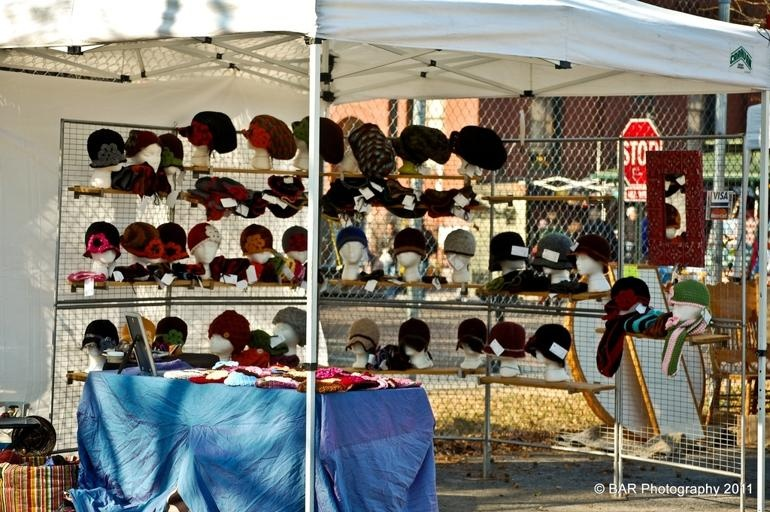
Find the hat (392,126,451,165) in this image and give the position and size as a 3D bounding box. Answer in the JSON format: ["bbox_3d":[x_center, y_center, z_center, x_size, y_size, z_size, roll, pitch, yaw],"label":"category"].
[{"bbox_3d":[0.331,-1.024,13.805,0.434,0.266,0.341,2,9,5],"label":"hat"}]

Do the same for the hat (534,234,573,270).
[{"bbox_3d":[1.512,-0.051,13.620,0.314,0.215,0.292,4,-3,21],"label":"hat"}]

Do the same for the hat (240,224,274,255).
[{"bbox_3d":[-1.150,-0.170,13.747,0.208,0.262,0.296,-7,12,-14],"label":"hat"}]

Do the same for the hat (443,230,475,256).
[{"bbox_3d":[0.682,-0.131,13.912,0.268,0.239,0.201,10,-10,-11],"label":"hat"}]

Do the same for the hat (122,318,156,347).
[{"bbox_3d":[-2.141,0.654,13.550,0.314,0.336,0.077,13,15,25],"label":"hat"}]

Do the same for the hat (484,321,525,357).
[{"bbox_3d":[1.097,0.723,13.756,0.399,0.285,0.452,3,7,-19],"label":"hat"}]

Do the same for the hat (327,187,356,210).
[{"bbox_3d":[-0.390,-0.545,13.762,0.222,0.175,0.216,23,-39,-1],"label":"hat"}]

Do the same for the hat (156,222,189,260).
[{"bbox_3d":[-1.918,-0.173,13.682,0.360,0.370,0.281,-2,5,-17],"label":"hat"}]

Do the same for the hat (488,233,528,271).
[{"bbox_3d":[1.109,-0.072,13.880,0.358,0.333,0.281,1,7,-8],"label":"hat"}]

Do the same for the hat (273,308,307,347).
[{"bbox_3d":[-0.829,0.646,14.095,0.325,0.303,0.282,15,-15,-25],"label":"hat"}]

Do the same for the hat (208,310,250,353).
[{"bbox_3d":[-1.360,0.669,13.643,0.372,0.387,0.302,-6,-8,-16],"label":"hat"}]

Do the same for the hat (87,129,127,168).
[{"bbox_3d":[-2.401,-0.948,13.342,0.335,0.338,0.307,-5,1,2],"label":"hat"}]

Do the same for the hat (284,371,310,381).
[{"bbox_3d":[-0.686,0.951,12.278,0.131,0.043,0.131,5,-5,-40],"label":"hat"}]

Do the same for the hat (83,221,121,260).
[{"bbox_3d":[-2.433,-0.177,13.389,0.301,0.292,0.287,5,-7,-32],"label":"hat"}]

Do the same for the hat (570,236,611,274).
[{"bbox_3d":[1.798,-0.030,13.414,0.294,0.230,0.268,2,4,-10],"label":"hat"}]

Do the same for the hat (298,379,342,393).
[{"bbox_3d":[-0.501,1.007,11.909,0.327,0.098,0.144,-2,-4,-4],"label":"hat"}]

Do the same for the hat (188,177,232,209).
[{"bbox_3d":[-1.597,-0.578,13.712,0.251,0.146,0.329,1,-3,-29],"label":"hat"}]

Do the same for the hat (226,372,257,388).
[{"bbox_3d":[-1.131,0.967,12.137,0.265,0.119,0.183,-3,-4,2],"label":"hat"}]

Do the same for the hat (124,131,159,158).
[{"bbox_3d":[-2.137,-1.015,13.431,0.244,0.195,0.229,-15,3,33],"label":"hat"}]

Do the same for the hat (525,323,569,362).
[{"bbox_3d":[1.464,0.774,13.630,0.442,0.381,0.344,10,-6,13],"label":"hat"}]

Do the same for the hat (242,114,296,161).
[{"bbox_3d":[-1.016,-1.104,13.742,0.469,0.360,0.360,16,3,-2],"label":"hat"}]

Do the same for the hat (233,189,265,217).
[{"bbox_3d":[-1.208,-0.480,13.797,0.254,0.269,0.184,5,1,-22],"label":"hat"}]

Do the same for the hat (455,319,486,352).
[{"bbox_3d":[0.796,0.675,13.981,0.274,0.283,0.399,6,8,15],"label":"hat"}]

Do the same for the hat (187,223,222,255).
[{"bbox_3d":[-1.592,-0.160,13.650,0.254,0.216,0.256,-4,-5,-30],"label":"hat"}]

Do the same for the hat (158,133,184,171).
[{"bbox_3d":[-1.915,-0.945,13.674,0.306,0.319,0.242,-5,-10,-11],"label":"hat"}]

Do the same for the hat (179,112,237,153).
[{"bbox_3d":[-1.575,-1.149,13.720,0.562,0.339,0.395,8,-6,-30],"label":"hat"}]

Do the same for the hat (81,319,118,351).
[{"bbox_3d":[-2.460,0.699,13.389,0.312,0.185,0.221,2,-1,35],"label":"hat"}]

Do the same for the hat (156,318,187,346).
[{"bbox_3d":[-1.920,0.665,13.804,0.242,0.246,0.126,35,-15,-26],"label":"hat"}]

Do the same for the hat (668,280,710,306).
[{"bbox_3d":[2.579,0.305,12.991,0.230,0.147,0.234,5,-11,29],"label":"hat"}]

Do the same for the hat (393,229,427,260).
[{"bbox_3d":[0.224,-0.165,13.895,0.325,0.270,0.299,1,24,-2],"label":"hat"}]

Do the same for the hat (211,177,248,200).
[{"bbox_3d":[-1.341,-0.606,13.645,0.229,0.086,0.181,12,-5,-10],"label":"hat"}]

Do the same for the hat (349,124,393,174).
[{"bbox_3d":[-0.111,-0.970,13.561,0.321,0.470,0.189,-26,-9,-6],"label":"hat"}]

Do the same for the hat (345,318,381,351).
[{"bbox_3d":[-0.179,0.702,13.902,0.278,0.288,0.414,12,-6,10],"label":"hat"}]

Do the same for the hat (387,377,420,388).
[{"bbox_3d":[0.149,1.007,12.318,0.287,0.090,0.299,-2,-4,-8],"label":"hat"}]

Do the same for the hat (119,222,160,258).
[{"bbox_3d":[-2.140,-0.143,13.430,0.251,0.201,0.337,2,16,-40],"label":"hat"}]
